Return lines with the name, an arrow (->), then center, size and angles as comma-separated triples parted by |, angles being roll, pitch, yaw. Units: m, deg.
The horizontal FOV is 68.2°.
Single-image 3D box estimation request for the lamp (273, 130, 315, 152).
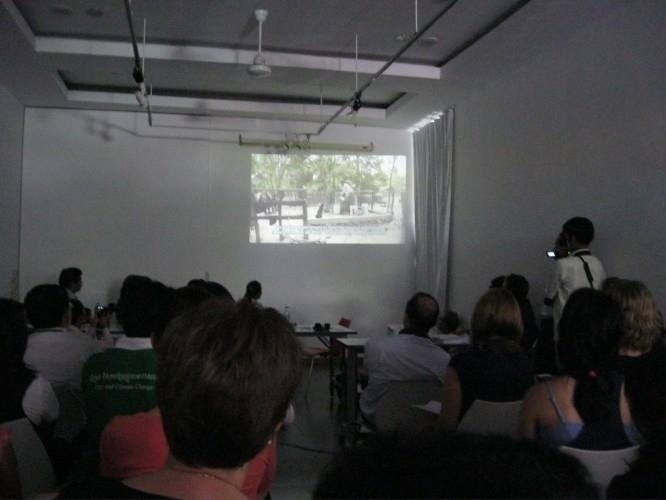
lamp -> -0.629, -1.908, 8.523 | 0.610, 0.269, 0.402 | 1, 1, -3
